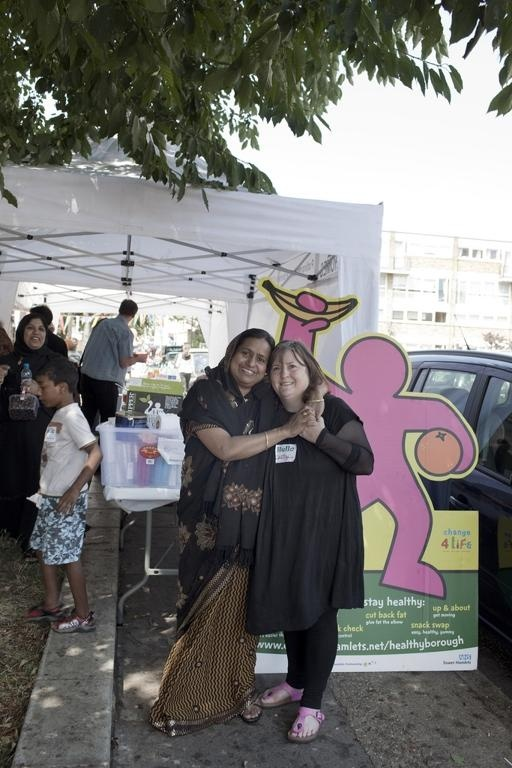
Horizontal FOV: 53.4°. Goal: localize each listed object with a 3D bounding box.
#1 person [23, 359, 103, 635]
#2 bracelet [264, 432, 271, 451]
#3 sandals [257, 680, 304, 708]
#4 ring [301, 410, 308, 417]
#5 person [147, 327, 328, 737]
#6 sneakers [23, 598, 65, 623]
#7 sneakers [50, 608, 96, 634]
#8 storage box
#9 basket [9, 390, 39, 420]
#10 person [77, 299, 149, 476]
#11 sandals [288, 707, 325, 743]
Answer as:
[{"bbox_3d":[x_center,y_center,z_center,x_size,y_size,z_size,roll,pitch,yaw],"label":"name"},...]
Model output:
[{"bbox_3d":[-1.005,0.586,2.772,0.380,1.441,0.424,1,-1,30],"label":"person"},{"bbox_3d":[0.046,0.215,1.914,0.026,0.069,0.079,5,-3,4],"label":"bracelet"},{"bbox_3d":[0.117,1.368,2.262,0.201,0.077,0.109,4,-9,-21],"label":"sandals"},{"bbox_3d":[0.180,0.108,1.852,0.018,0.024,0.008,-5,-4,16],"label":"ring"},{"bbox_3d":[-0.107,0.581,2.043,0.604,1.554,0.486,1,-3,-15],"label":"person"},{"bbox_3d":[-1.200,1.273,2.847,0.221,0.102,0.101,5,-5,-1],"label":"sneakers"},{"bbox_3d":[-0.972,1.284,2.738,0.224,0.105,0.099,5,-5,-11],"label":"sneakers"},{"bbox_3d":[-0.732,0.442,3.206,0.450,0.425,0.442,1,9,-15],"label":"storage box"},{"bbox_3d":[-1.631,0.169,3.681,0.236,0.229,0.175,1,46,-10],"label":"basket"},{"bbox_3d":[-1.805,-0.046,6.212,0.799,1.879,0.815,-3,14,-37],"label":"person"},{"bbox_3d":[0.191,1.353,2.002,0.087,0.080,0.178,-3,-17,17],"label":"sandals"}]
